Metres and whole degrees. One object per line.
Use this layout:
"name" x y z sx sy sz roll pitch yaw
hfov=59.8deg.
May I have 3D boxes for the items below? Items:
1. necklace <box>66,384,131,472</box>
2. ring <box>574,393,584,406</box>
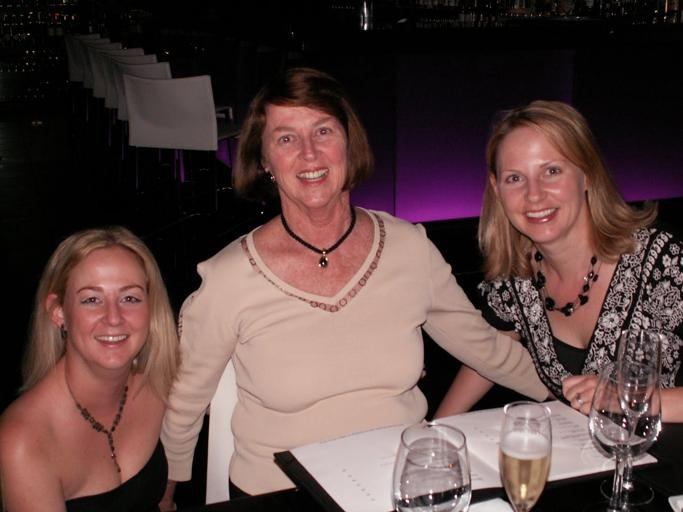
"necklace" -0.757 0.580 1.963 0.170 0.253 0.009 -17 4 -40
"ring" 0.753 0.448 1.862 0.025 0.015 0.037 -8 34 14
